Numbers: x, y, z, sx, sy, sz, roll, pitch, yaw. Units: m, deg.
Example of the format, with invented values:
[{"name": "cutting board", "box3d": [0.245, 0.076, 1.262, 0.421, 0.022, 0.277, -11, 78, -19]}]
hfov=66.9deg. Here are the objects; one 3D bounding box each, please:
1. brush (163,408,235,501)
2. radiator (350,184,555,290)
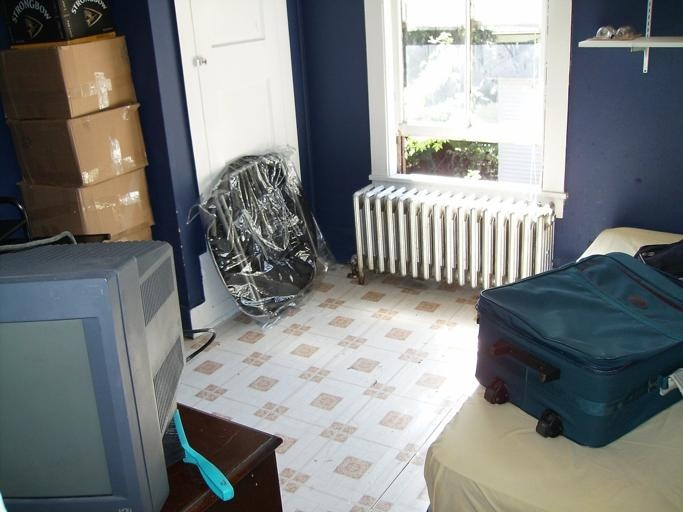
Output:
[{"name": "brush", "box3d": [-0.341, 0.479, 1.236, 0.164, 0.145, 0.248, -8, 27, -21]}, {"name": "radiator", "box3d": [0.767, -0.133, 3.652, 1.318, 0.736, 0.383, 7, 43, 14]}]
